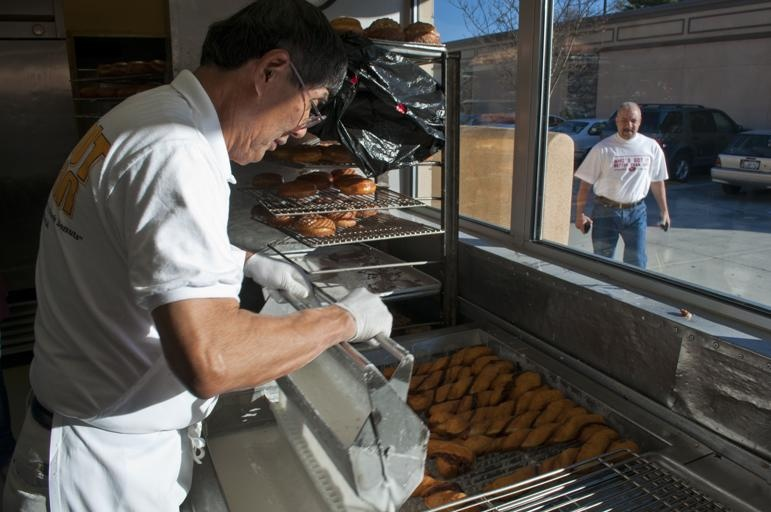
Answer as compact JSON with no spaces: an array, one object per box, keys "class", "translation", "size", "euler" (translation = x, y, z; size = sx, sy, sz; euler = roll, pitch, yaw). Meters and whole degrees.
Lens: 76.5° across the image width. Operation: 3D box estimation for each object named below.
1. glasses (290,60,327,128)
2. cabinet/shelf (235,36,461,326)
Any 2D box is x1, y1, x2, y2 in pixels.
[{"class":"glasses","translation":[-0.216,-0.385,1.199],"size":[0.113,0.120,0.038],"euler":[1,-25,40]},{"class":"cabinet/shelf","translation":[-0.238,-0.321,2.655],"size":[0.951,1.478,0.872],"euler":[10,30,21]}]
